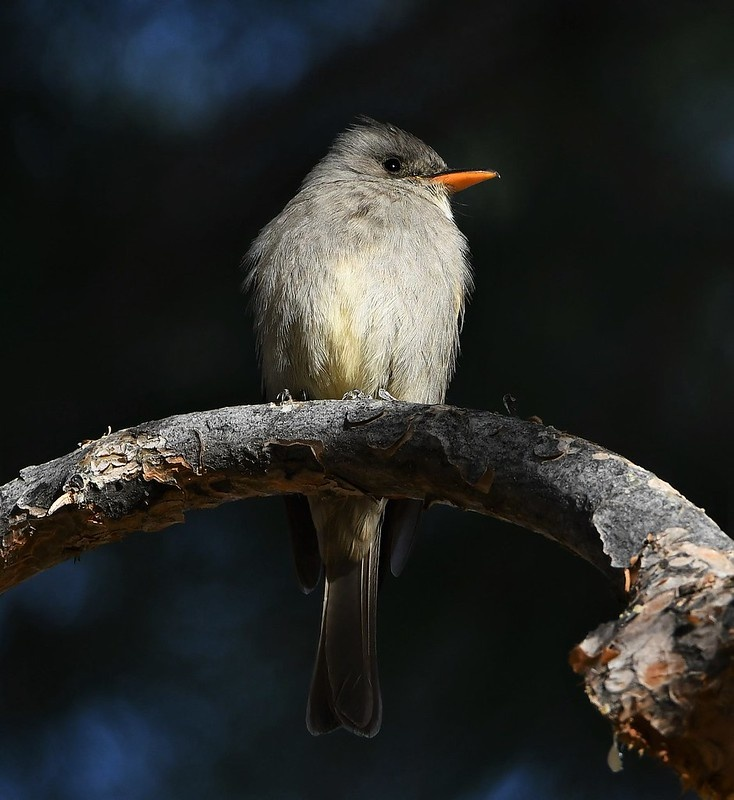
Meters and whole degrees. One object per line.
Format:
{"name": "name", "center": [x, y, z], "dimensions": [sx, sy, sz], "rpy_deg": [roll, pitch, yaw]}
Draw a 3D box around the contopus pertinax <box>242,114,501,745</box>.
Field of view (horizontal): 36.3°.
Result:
{"name": "contopus pertinax", "center": [-0.038, 0.071, 2.968], "dimensions": [0.630, 1.583, 0.679], "rpy_deg": [4, 5, -6]}
